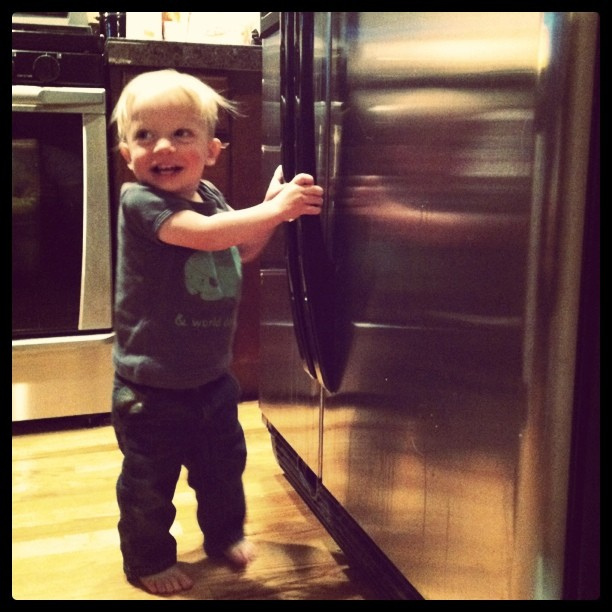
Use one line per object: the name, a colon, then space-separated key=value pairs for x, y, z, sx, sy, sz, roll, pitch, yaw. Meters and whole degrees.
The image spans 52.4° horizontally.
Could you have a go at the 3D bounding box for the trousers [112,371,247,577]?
trousers: x=-0.206 y=0.260 z=1.072 sx=0.220 sy=0.464 sz=0.141 roll=-9 pitch=19 yaw=-30

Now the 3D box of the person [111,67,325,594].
person: x=-0.127 y=0.056 z=1.039 sx=0.367 sy=0.847 sz=0.325 roll=-5 pitch=14 yaw=-27
